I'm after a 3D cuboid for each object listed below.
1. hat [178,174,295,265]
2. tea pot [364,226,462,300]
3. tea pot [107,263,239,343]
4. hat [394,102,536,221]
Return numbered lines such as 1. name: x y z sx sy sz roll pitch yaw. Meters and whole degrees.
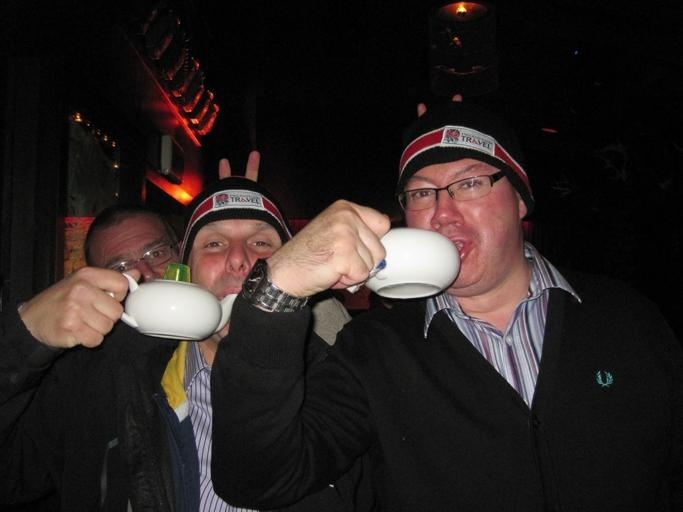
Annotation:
1. hat: -0.515 -0.164 2.836 0.400 0.370 0.497 -6 -5 -1
2. tea pot: 0.259 0.039 2.134 0.310 0.143 0.259 4 -32 -8
3. tea pot: -0.639 0.183 2.161 0.398 0.207 0.269 8 -8 -25
4. hat: 0.547 -0.398 2.635 0.423 0.382 0.517 7 -13 6
